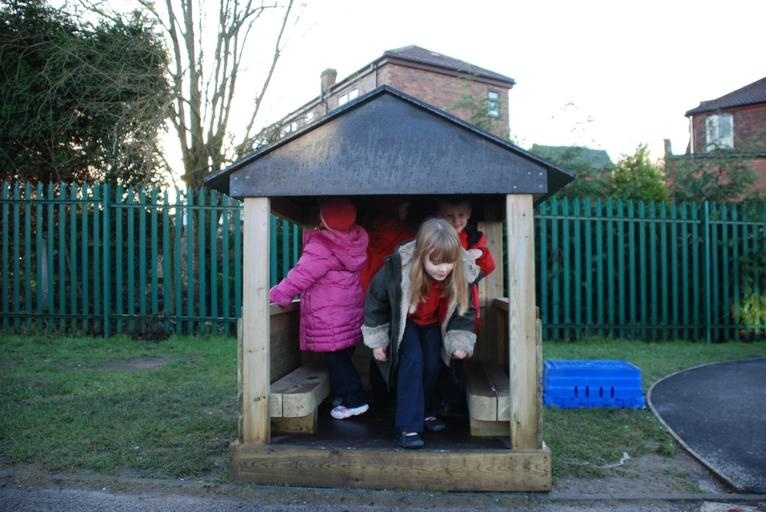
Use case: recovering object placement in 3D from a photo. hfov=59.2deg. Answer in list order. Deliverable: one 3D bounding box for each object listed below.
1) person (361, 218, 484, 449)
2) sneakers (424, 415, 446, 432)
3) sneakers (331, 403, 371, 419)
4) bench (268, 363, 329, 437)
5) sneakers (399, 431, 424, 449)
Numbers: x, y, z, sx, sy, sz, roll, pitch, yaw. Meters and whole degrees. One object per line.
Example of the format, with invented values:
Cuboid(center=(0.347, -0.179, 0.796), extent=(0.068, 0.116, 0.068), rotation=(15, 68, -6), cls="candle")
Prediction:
Cuboid(center=(0.457, 0.880, 7.911), extent=(1.264, 2.616, 0.618), rotation=(0, -2, 17), cls="person")
Cuboid(center=(0.618, 2.014, 8.079), extent=(0.142, 0.121, 0.259), rotation=(-1, -7, -7), cls="sneakers")
Cuboid(center=(-0.418, 1.936, 8.460), extent=(0.462, 0.228, 0.176), rotation=(1, -5, -7), cls="sneakers")
Cuboid(center=(-1.027, 1.766, 8.157), extent=(0.588, 0.674, 0.881), rotation=(0, -2, 11), cls="bench")
Cuboid(center=(0.342, 2.098, 7.701), extent=(0.303, 0.169, 0.200), rotation=(1, -2, -16), cls="sneakers")
